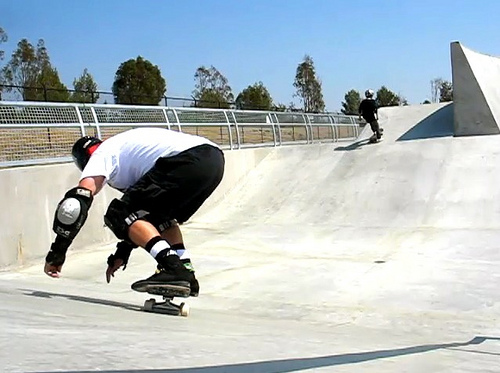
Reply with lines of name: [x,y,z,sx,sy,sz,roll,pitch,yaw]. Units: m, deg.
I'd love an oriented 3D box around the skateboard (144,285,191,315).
skateboard: [-0.675,0.910,3.372,0.340,0.224,0.436,8,-11,-2]

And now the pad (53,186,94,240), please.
pad: [-1.350,0.185,3.123,0.251,0.406,0.145,8,-8,-23]

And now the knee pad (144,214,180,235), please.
knee pad: [-0.736,0.296,3.405,0.205,0.079,0.157,-8,-14,10]

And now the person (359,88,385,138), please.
person: [3.676,-2.205,12.467,0.653,1.638,1.086,2,-8,15]
